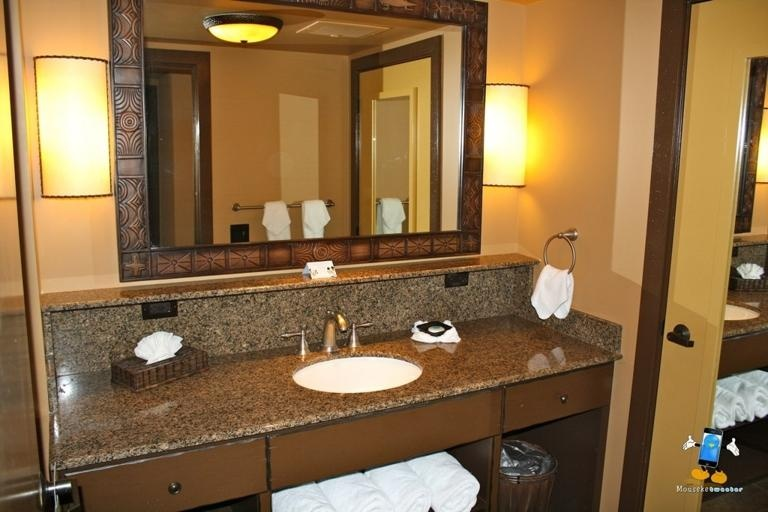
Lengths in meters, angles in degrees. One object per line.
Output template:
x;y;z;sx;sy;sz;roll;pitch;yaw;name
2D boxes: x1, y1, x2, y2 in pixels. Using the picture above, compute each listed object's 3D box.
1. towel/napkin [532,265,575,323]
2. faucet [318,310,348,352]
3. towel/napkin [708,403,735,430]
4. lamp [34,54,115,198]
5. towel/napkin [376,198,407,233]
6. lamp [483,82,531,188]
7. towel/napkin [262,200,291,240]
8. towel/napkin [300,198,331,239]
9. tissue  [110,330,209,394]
0.785;0.181;2.696;0.097;0.230;0.232;12;1;-43;towel/napkin
-0.223;0.324;2.557;0.111;0.185;0.296;-5;11;-7;faucet
1.375;0.658;2.369;0.100;0.095;0.043;-10;6;8;towel/napkin
-1.162;-0.482;2.183;0.272;0.518;0.108;-8;13;-21;lamp
0.027;-0.195;2.774;0.150;0.170;0.068;-5;12;-26;towel/napkin
0.600;-0.600;2.909;0.220;0.500;0.105;-1;12;8;lamp
-0.477;-0.158;2.558;0.131;0.155;0.041;-8;14;-18;towel/napkin
-0.317;-0.173;2.626;0.163;0.209;0.058;-6;12;-28;towel/napkin
-0.895;0.397;2.306;0.344;0.186;0.161;-11;14;-36;tissue 
